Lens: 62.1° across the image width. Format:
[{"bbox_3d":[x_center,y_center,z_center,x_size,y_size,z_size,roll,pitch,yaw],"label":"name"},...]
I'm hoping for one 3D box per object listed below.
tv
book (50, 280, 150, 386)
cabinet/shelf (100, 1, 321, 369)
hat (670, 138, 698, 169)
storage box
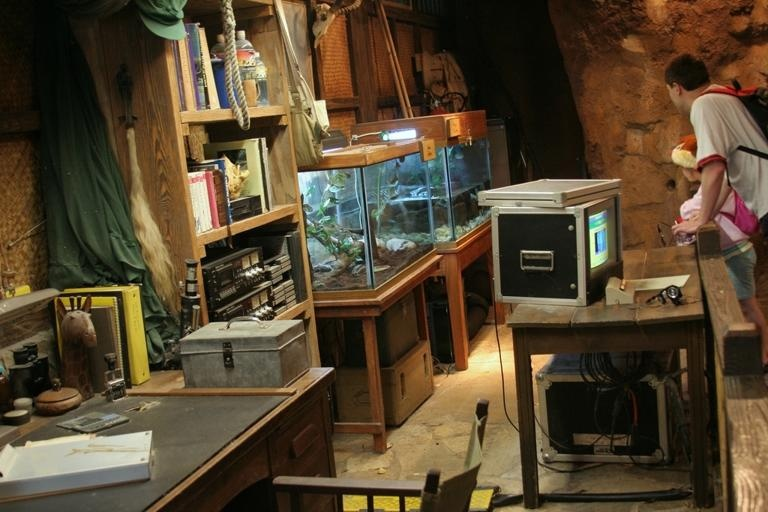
[{"bbox_3d":[1.278,-0.078,4.612,0.681,0.584,0.956,2,11,34],"label":"tv"},{"bbox_3d":[-1.524,0.433,3.396,0.478,0.554,0.302,-9,1,19],"label":"book"},{"bbox_3d":[-1.011,-0.415,4.249,0.691,2.602,1.441,-3,7,18],"label":"cabinet/shelf"},{"bbox_3d":[2.532,-0.814,5.302,0.224,0.118,0.307,-8,32,48],"label":"hat"},{"bbox_3d":[-0.743,0.519,3.459,0.584,0.312,0.454,-3,7,19],"label":"storage box"}]
